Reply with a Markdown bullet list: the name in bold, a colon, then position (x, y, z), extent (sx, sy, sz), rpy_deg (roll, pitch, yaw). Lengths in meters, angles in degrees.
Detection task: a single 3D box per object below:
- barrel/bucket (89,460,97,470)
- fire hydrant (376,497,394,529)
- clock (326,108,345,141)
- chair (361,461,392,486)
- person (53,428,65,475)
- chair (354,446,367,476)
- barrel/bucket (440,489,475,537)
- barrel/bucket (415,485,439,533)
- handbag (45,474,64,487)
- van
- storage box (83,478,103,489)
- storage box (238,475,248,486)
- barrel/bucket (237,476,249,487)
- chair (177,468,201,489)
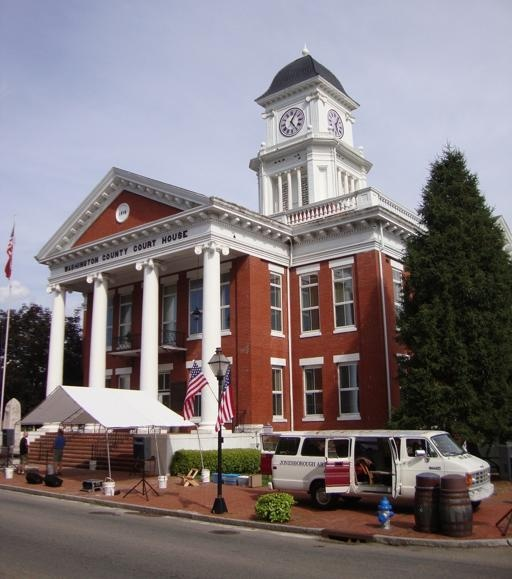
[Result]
- **barrel/bucket**: position (-6.276, 6.790, 23.698), extent (0.404, 0.341, 0.355), rpy_deg (-1, -13, 0)
- **fire hydrant**: position (2.517, 4.402, 12.075), extent (0.231, 0.572, 0.557), rpy_deg (-2, -13, 8)
- **clock**: position (4.789, -10.086, 37.641), extent (0.102, 2.262, 2.370), rpy_deg (-32, -61, 33)
- **chair**: position (2.783, 4.330, 14.417), extent (0.657, 0.606, 0.426), rpy_deg (-6, -10, 23)
- **person**: position (-7.102, 5.827, 22.113), extent (0.333, 1.556, 0.998), rpy_deg (4, -14, -17)
- **chair**: position (2.468, 4.137, 14.635), extent (0.262, 0.538, 0.427), rpy_deg (-9, 8, 7)
- **barrel/bucket**: position (3.615, 4.291, 11.736), extent (0.701, 0.887, 0.763), rpy_deg (3, -23, 1)
- **barrel/bucket**: position (3.255, 4.215, 11.740), extent (0.455, 0.801, 0.252), rpy_deg (-4, -14, 13)
- **handbag**: position (-6.058, 5.811, 18.692), extent (0.564, 0.358, 0.496), rpy_deg (-8, -7, 37)
- **van**: position (2.597, 4.221, 14.306), extent (5.055, 1.782, 1.716), rpy_deg (-8, -15, 33)
- **storage box**: position (-4.664, 5.613, 17.615), extent (0.363, 0.201, 0.439), rpy_deg (-2, -7, 25)
- **storage box**: position (-0.356, 6.103, 19.542), extent (0.275, 0.176, 0.393), rpy_deg (12, -15, -44)
- **barrel/bucket**: position (-0.416, 6.101, 19.505), extent (0.304, 0.166, 0.408), rpy_deg (7, -11, -24)
- **chair**: position (-2.072, 6.029, 19.485), extent (0.718, 0.529, 0.488), rpy_deg (5, -15, -25)
